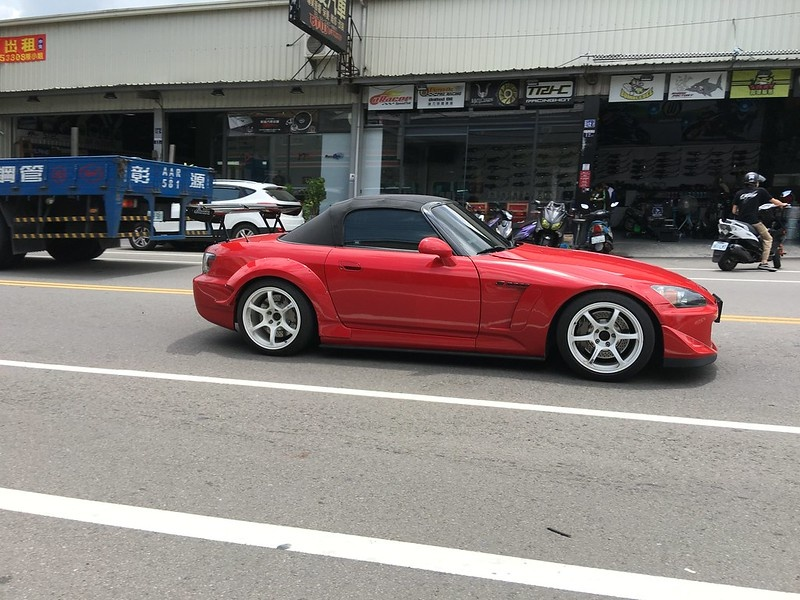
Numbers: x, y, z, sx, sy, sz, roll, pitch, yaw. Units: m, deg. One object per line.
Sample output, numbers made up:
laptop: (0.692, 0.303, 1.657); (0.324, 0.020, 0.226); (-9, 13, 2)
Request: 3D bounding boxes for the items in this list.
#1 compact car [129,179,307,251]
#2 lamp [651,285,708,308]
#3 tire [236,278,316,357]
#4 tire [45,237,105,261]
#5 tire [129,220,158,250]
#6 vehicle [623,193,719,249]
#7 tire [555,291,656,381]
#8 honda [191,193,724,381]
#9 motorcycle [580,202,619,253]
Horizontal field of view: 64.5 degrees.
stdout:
compact car: (-5.224, -2.102, 15.332); (5.137, 1.584, 2.113); (3, 11, 7)
lamp: (2.444, -0.022, 5.549); (0.360, 0.101, 0.233); (4, 14, -11)
tire: (-1.194, 0.167, 6.435); (0.937, 0.751, 0.314); (0, 5, 31)
tire: (-6.787, -1.076, 13.505); (1.021, 0.325, 0.809); (9, 26, 18)
tire: (-5.510, -1.409, 13.689); (0.514, 0.408, 0.169); (-3, 7, 16)
vehicle: (10.120, -2.825, 23.648); (3.686, 1.231, 2.383); (0, 16, -1)
tire: (1.887, 0.319, 5.668); (0.322, 0.748, 0.898); (-1, -2, -42)
honda: (0.373, -0.131, 6.356); (4.702, 1.173, 1.980); (1, 10, 9)
motorcycle: (4.503, -1.627, 14.517); (0.841, 1.045, 1.863); (-3, 12, 19)
